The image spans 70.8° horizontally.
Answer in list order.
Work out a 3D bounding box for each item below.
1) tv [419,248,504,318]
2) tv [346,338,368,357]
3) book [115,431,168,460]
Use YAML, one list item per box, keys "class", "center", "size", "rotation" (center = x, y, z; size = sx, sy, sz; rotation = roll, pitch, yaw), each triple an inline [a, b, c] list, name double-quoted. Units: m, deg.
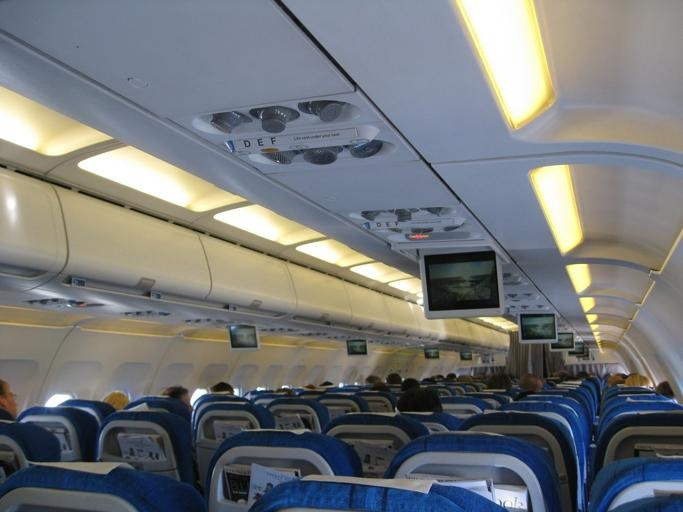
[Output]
- class: "tv"
  center: [1.510, 0.341, 5.992]
  size: [1.274, 0.781, 0.144]
  rotation: [-3, -11, 9]
- class: "tv"
  center: [0.511, 2.993, 15.721]
  size: [0.597, 0.501, 0.395]
  rotation: [-5, -31, 16]
- class: "book"
  center: [-1.626, 1.556, 3.943]
  size: [0.395, 0.169, 0.057]
  rotation: [0, 21, 24]
